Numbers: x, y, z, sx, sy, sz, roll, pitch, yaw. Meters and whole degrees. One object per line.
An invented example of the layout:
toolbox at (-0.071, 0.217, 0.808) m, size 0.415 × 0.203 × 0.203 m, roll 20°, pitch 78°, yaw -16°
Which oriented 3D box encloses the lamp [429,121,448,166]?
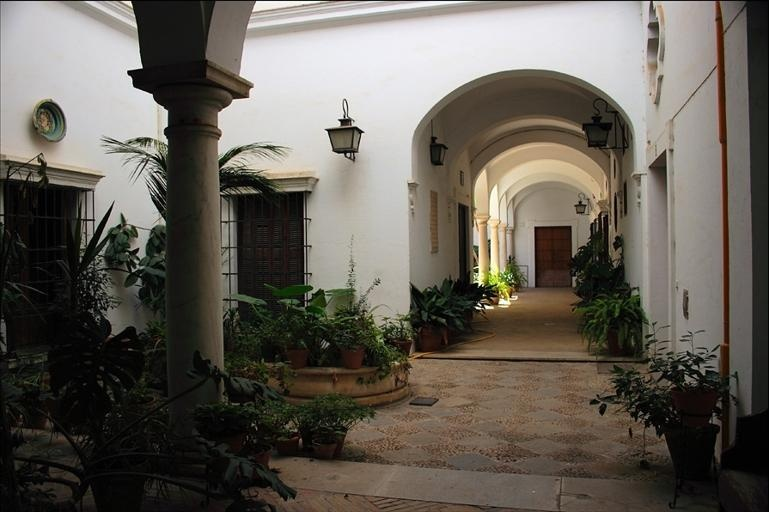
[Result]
lamp at (1.079, -2.254, 11.295) m, size 0.281 × 0.891 × 0.742 m, roll -3°, pitch -3°, yaw 13°

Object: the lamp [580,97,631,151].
lamp at (3.967, -2.372, 10.086) m, size 0.703 × 0.922 × 0.399 m, roll 0°, pitch 1°, yaw 5°

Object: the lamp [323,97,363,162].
lamp at (-0.655, -2.191, 9.445) m, size 0.604 × 1.095 × 0.737 m, roll -2°, pitch -3°, yaw -2°
